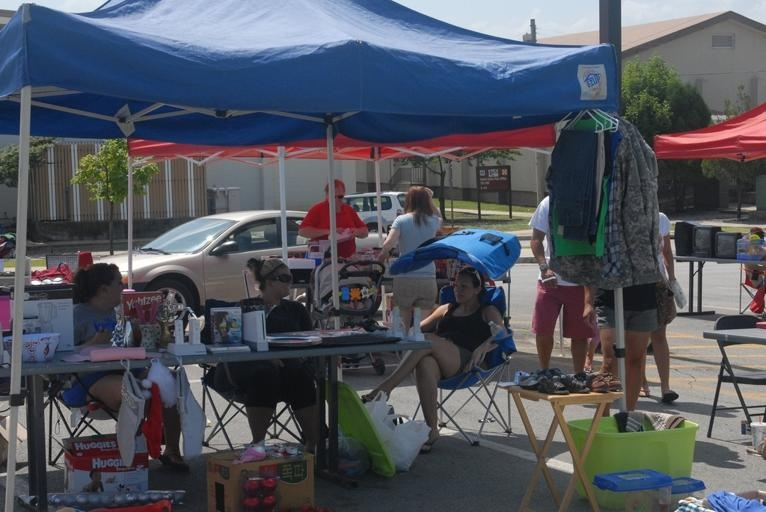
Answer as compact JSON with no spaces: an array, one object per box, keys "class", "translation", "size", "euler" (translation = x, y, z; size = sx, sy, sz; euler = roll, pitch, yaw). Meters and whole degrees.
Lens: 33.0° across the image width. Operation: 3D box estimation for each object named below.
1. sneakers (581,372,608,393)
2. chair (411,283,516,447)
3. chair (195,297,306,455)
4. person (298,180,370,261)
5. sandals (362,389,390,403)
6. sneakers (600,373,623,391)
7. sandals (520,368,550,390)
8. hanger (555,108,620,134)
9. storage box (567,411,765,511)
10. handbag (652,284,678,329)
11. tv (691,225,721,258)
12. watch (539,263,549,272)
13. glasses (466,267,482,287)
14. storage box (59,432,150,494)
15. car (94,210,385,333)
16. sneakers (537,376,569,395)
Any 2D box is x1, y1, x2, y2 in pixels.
[{"class":"sneakers","translation":[1.890,1.144,11.459],"size":[0.107,0.128,0.286],"euler":[-4,10,-32]},{"class":"chair","translation":[0.800,1.085,13.084],"size":[1.136,1.546,1.025],"euler":[-3,0,5]},{"class":"chair","translation":[-1.218,1.225,12.785],"size":[1.351,1.785,1.297],"euler":[4,-9,-25]},{"class":"person","translation":[-0.605,-0.301,16.306],"size":[0.950,1.274,0.691],"euler":[-1,11,-18]},{"class":"sandals","translation":[-0.079,1.390,12.533],"size":[0.101,0.130,0.322],"euler":[2,-1,-45]},{"class":"sneakers","translation":[2.052,1.160,11.540],"size":[0.096,0.133,0.273],"euler":[-4,-11,41]},{"class":"sandals","translation":[1.352,1.119,11.533],"size":[0.164,0.088,0.222],"euler":[-5,1,-20]},{"class":"hanger","translation":[1.928,-1.259,12.223],"size":[0.654,0.231,0.195],"euler":[-3,-1,34]},{"class":"storage box","translation":[2.275,1.888,11.597],"size":[1.067,0.560,0.718],"euler":[-1,-2,-17]},{"class":"handbag","translation":[2.884,0.517,13.296],"size":[0.301,0.594,0.431],"euler":[-4,9,14]},{"class":"tv","translation":[4.727,-0.197,18.853],"size":[0.382,0.490,0.354],"euler":[-7,16,-39]},{"class":"watch","translation":[1.691,0.142,13.616],"size":[0.095,0.066,0.100],"euler":[15,-34,-29]},{"class":"glasses","translation":[0.938,0.227,13.274],"size":[0.141,0.190,0.104],"euler":[2,17,23]},{"class":"storage box","translation":[-2.459,1.908,11.553],"size":[0.881,0.635,0.480],"euler":[1,-4,-21]},{"class":"car","translation":[-2.439,0.124,18.492],"size":[3.139,1.073,1.418],"euler":[1,-2,-34]},{"class":"sneakers","translation":[1.514,1.188,11.406],"size":[0.293,0.129,0.110],"euler":[-2,0,33]}]
